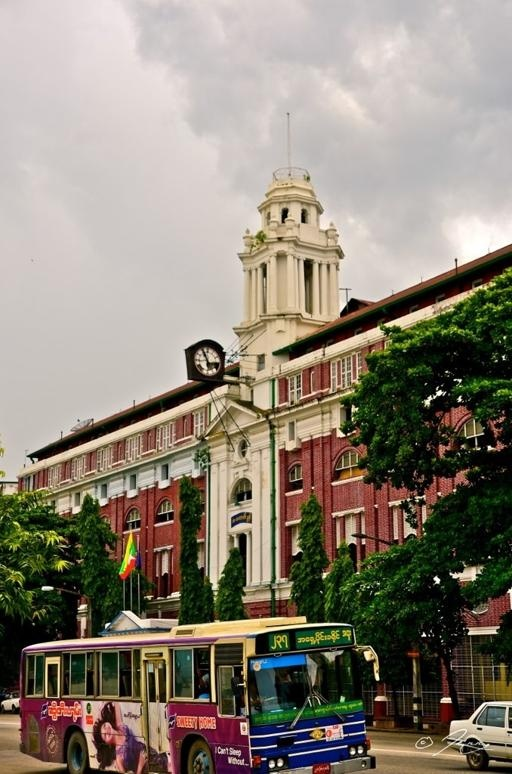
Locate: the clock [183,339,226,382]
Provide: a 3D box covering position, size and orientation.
[{"bbox_3d":[-2.394,-1.108,58.122,2.251,2.162,0.656,15,-26,-37],"label":"clock"}]
